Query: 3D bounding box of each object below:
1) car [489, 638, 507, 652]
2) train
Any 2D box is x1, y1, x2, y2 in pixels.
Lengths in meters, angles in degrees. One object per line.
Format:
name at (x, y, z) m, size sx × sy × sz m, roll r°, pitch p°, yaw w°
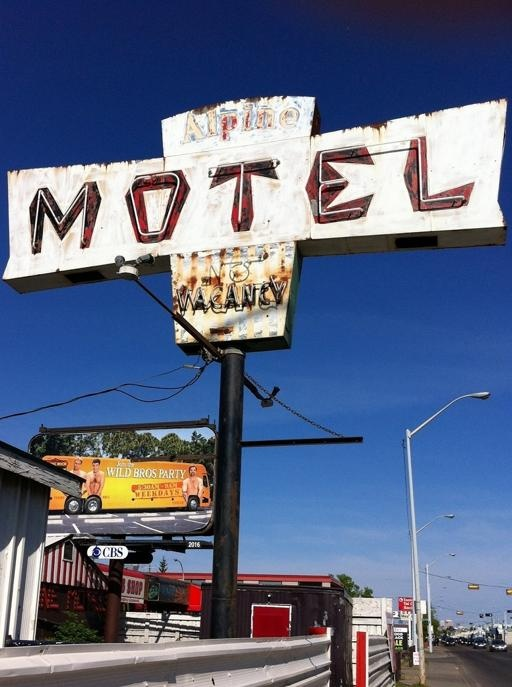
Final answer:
car at (24.542, 30.638, 80.856) m, size 1.142 × 1.026 × 1.982 m, roll 1°, pitch -5°, yaw 1°
train at (-3.460, 9.717, 31.128) m, size 2.194 × 1.594 × 12.048 m, roll -1°, pitch -20°, yaw 0°
